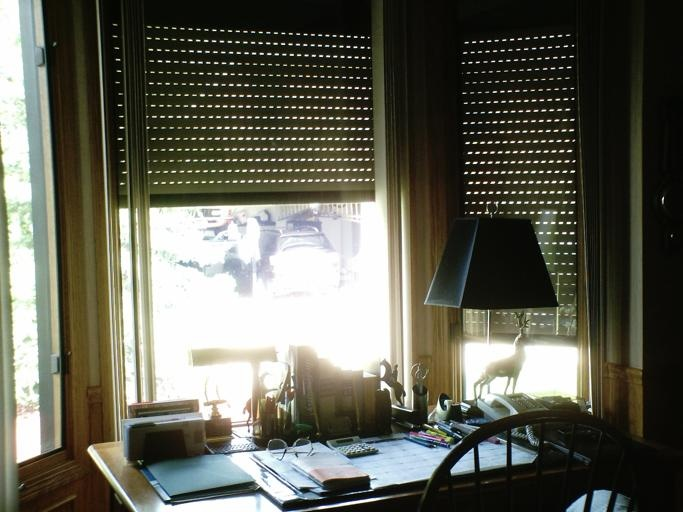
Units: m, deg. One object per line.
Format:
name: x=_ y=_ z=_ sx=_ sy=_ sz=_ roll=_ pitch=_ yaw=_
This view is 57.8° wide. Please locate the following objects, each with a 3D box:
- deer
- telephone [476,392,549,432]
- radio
deer: x=0.740 y=0.461 z=2.790 sx=0.266 sy=0.390 sz=0.145 roll=-3 pitch=1 yaw=5
telephone: x=0.722 y=0.614 z=2.613 sx=0.190 sy=0.101 sz=0.260 roll=-1 pitch=-6 yaw=-34
radio: x=-0.704 y=0.727 z=2.465 sx=0.296 sy=0.169 sz=0.144 roll=0 pitch=-2 yaw=-28
